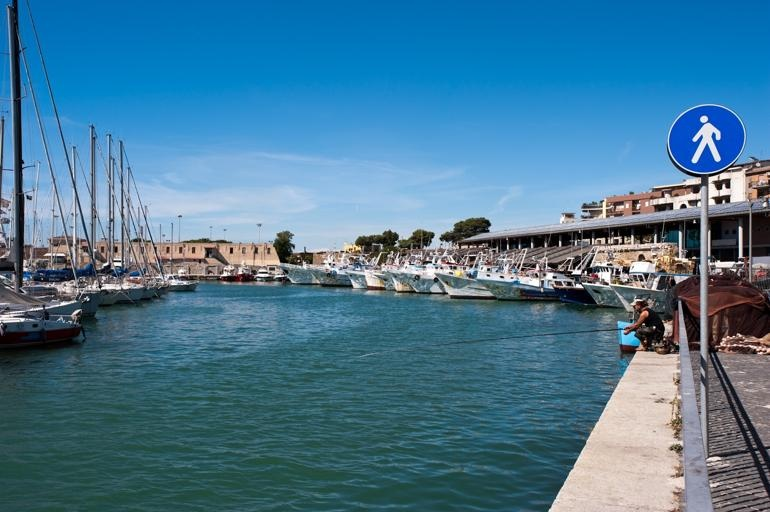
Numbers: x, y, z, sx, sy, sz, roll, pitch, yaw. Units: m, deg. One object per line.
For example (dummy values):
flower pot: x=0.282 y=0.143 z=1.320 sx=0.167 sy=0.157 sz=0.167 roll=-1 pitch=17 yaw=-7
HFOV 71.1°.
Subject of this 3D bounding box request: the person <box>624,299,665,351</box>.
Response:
person: x=9.725 y=2.524 z=20.010 sx=1.090 sy=1.746 sz=1.605 roll=-3 pitch=1 yaw=22
